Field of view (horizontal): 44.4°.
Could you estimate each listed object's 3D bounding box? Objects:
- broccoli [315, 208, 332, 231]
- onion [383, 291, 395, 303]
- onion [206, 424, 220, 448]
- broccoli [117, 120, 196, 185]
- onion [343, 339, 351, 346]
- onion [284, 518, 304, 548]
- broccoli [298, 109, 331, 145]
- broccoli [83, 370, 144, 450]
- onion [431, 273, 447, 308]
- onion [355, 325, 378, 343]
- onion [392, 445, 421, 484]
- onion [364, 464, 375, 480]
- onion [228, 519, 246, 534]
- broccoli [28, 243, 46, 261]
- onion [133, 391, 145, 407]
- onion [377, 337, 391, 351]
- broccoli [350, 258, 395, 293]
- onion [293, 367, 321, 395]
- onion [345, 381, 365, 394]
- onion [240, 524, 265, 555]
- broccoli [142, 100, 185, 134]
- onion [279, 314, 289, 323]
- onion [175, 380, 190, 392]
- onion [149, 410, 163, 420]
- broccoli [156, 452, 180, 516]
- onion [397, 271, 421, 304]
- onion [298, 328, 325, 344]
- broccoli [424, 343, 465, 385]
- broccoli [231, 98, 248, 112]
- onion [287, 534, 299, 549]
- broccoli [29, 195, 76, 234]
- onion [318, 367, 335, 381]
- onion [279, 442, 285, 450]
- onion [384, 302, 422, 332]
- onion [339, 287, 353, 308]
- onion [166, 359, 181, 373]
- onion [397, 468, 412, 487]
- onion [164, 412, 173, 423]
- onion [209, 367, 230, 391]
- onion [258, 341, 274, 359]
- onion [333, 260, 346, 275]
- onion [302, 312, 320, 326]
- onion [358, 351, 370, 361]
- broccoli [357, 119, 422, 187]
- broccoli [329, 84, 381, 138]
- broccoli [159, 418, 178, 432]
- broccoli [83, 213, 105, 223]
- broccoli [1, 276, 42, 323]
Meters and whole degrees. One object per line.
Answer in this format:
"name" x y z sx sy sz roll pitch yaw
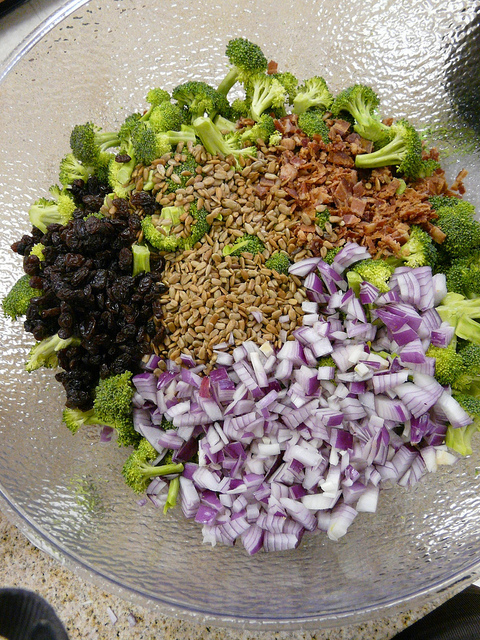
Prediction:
"broccoli" 0.228 -0.272 1.593 0.058 0.023 0.049 -6 87 -1
"onion" 0.387 -0.059 1.533 0.024 0.021 0.023 15 105 19
"onion" -0.076 0.313 1.595 0.039 0.018 0.057 -16 64 15
"broccoli" -0.248 -0.475 1.592 0.155 0.086 0.214 16 121 -9
"onion" 0.284 0.061 1.584 0.017 0.012 0.016 -4 101 20
"onion" 0.144 0.564 1.570 0.074 0.026 0.066 3 88 31
"broccoli" 0.204 -0.550 1.655 0.083 0.068 0.128 -11 72 8
"broccoli" -0.363 0.247 1.576 0.114 0.131 0.136 -8 91 8
"onion" 0.537 -0.090 1.589 0.029 0.051 0.065 10 85 -25
"onion" 0.335 0.041 1.587 0.049 0.051 0.016 -52 59 37
"onion" 0.439 0.384 1.587 0.075 0.033 0.094 13 107 -10
"onion" 0.345 0.406 1.561 0.013 0.026 0.032 15 76 -13
"onion" -0.011 0.554 1.574 0.033 0.033 0.032 -14 108 27
"broccoli" -0.564 -0.190 1.635 0.058 0.034 0.049 5 90 -18
"onion" -0.276 0.212 1.589 0.022 0.026 0.033 -33 114 -10
"onion" 0.388 0.063 1.589 0.035 0.019 0.032 5 75 12
"broccoli" 0.354 -0.125 1.546 0.102 0.042 0.089 3 66 1
"onion" 0.176 0.168 1.579 0.067 0.052 0.066 50 115 36
"onion" 0.301 0.178 1.568 0.059 0.031 0.038 2 98 -9
"onion" 0.032 0.588 1.577 0.077 0.025 0.079 -51 33 11
"broccoli" -0.202 -0.557 1.626 0.107 0.056 0.084 -14 79 2
"onion" 0.117 -0.003 1.589 0.024 0.014 0.022 -5 84 2
"onion" -0.165 0.179 1.588 0.032 0.011 0.028 4 89 15
"onion" -0.234 0.262 1.622 0.019 0.024 0.019 19 89 4
"broccoli" -0.189 0.443 1.635 0.046 0.050 0.184 10 80 9
"onion" 0.443 -0.087 1.548 0.030 0.056 0.074 -13 53 0
"onion" 0.187 0.040 1.571 0.041 0.022 0.050 -44 71 -4
"broccoli" 0.511 0.117 1.577 0.128 0.154 0.079 -10 70 28
"broccoli" -0.002 -0.614 1.680 0.041 0.018 0.035 1 88 7
"onion" 0.138 0.587 1.556 0.027 0.022 0.035 -4 73 10
"broccoli" -0.533 -0.296 1.653 0.130 0.066 0.105 -5 92 16
"onion" 0.224 0.141 1.550 0.038 0.028 0.033 -2 90 23
"onion" 0.113 0.342 1.592 0.016 0.015 0.014 10 108 52
"onion" 0.419 -0.013 1.537 0.080 0.069 0.020 52 123 37
"onion" 0.283 -0.060 1.559 0.059 0.016 0.018 -49 38 0
"onion" -0.184 0.126 1.600 0.041 0.013 0.033 5 103 1
"onion" 0.448 0.427 1.610 0.066 0.018 0.018 -46 107 -27
"onion" -0.195 0.264 1.593 0.018 0.022 0.026 -32 79 -14
"onion" -0.048 0.157 1.561 0.053 0.015 0.047 -4 53 -18
"onion" 0.067 0.081 1.566 0.029 0.025 0.041 -46 71 24
"onion" 0.262 -0.143 1.572 0.025 0.026 0.026 33 98 -25
"onion" 0.186 -0.001 1.579 0.039 0.014 0.024 -6 105 14
"onion" 0.325 0.097 1.548 0.022 0.033 0.023 14 78 15
"broccoli" 0.415 -0.486 1.697 0.188 0.164 0.113 -11 49 9
"broccoli" 0.337 -0.600 1.675 0.119 0.119 0.126 -7 91 2
"broccoli" -0.205 0.290 1.631 0.041 0.019 0.034 -10 71 8
"broccoli" -0.403 -0.279 1.590 0.034 0.017 0.030 0 69 -3
"broccoli" -0.580 -0.055 1.658 0.107 0.060 0.132 4 64 35
